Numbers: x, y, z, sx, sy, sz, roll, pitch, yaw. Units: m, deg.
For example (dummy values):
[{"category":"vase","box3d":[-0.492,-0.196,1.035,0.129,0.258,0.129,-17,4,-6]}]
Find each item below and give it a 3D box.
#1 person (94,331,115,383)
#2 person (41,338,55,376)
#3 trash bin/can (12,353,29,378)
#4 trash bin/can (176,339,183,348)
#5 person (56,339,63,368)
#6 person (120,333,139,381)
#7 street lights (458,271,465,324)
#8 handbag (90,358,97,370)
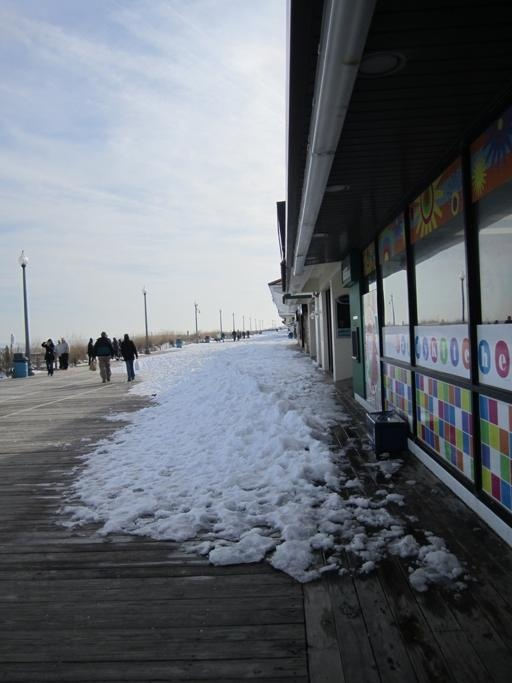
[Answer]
[{"category":"person","box3d":[-4.826,0.495,15.182,0.531,1.694,0.513,-7,22,-26]},{"category":"person","box3d":[-8.650,0.671,19.948,0.399,1.452,1.717,-3,1,-24]},{"category":"trash bin/can","box3d":[-9.611,0.975,19.482,0.585,1.042,0.861,-4,2,-28]},{"category":"trash bin/can","box3d":[-7.649,0.204,47.185,0.570,1.279,0.639,-3,12,-10]},{"category":"person","box3d":[-9.011,0.657,21.985,0.245,1.311,1.858,-3,1,-23]},{"category":"person","box3d":[-3.971,0.538,14.878,0.428,1.286,2.189,-3,1,-15]},{"category":"street lights","box3d":[1.554,-0.334,3.599,0.017,0.375,0.159,-2,2,14]},{"category":"handbag","box3d":[-6.906,0.973,20.193,0.204,0.630,0.446,-7,13,-43]}]
